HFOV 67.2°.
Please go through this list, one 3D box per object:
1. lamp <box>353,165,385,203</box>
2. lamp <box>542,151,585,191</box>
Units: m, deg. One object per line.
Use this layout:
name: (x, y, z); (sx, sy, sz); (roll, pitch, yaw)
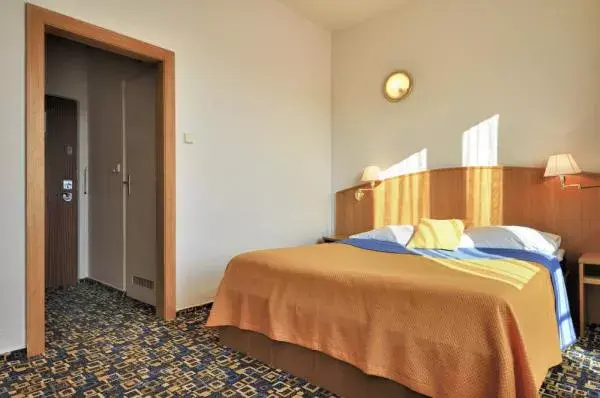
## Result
lamp: (0.897, -0.178, 5.936); (0.356, 0.486, 0.418); (5, -10, -34)
lamp: (2.750, -0.258, 4.749); (0.365, 0.414, 0.359); (-5, 2, 36)
